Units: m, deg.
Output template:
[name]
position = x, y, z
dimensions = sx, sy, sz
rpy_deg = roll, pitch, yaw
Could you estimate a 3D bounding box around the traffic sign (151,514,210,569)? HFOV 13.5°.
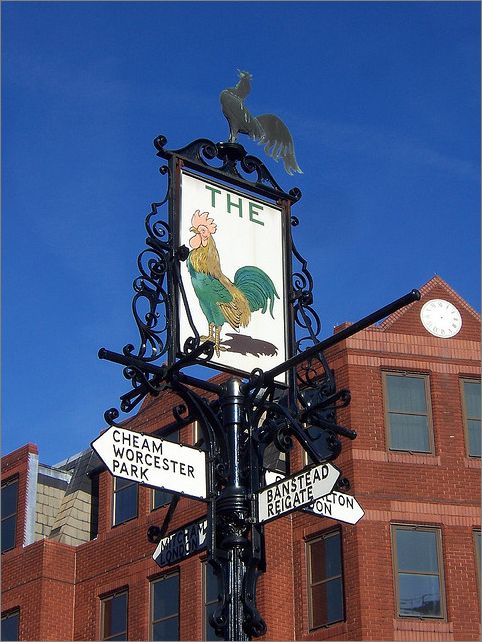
[traffic sign]
position = -0.796, 2.848, 25.927
dimensions = 1.156, 0.491, 0.054
rpy_deg = -28, -45, 35
